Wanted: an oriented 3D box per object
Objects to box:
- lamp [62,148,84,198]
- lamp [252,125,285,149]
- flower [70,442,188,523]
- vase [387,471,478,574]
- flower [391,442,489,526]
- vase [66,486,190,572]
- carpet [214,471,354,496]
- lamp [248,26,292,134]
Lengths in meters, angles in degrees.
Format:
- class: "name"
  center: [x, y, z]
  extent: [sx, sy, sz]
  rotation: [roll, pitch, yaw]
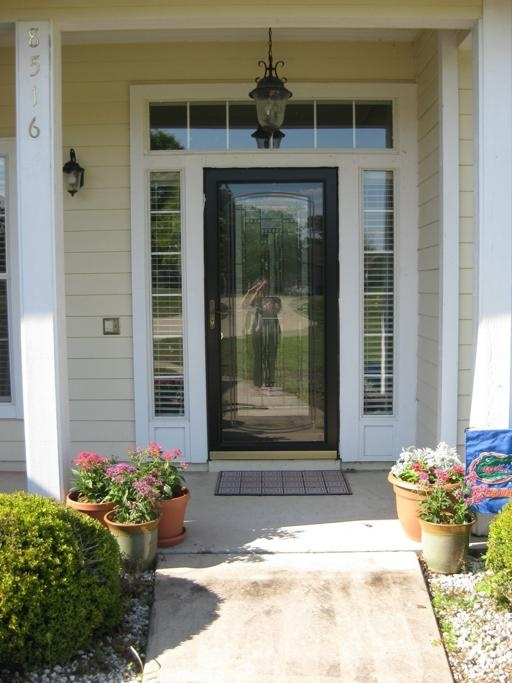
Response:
- class: "lamp"
  center: [-1.182, -1.088, 4.579]
  extent: [0.139, 0.302, 0.155]
  rotation: [-3, 8, -11]
- class: "lamp"
  center: [0.083, -1.301, 4.479]
  extent: [0.171, 0.159, 0.171]
  rotation: [0, -4, 0]
- class: "flower"
  center: [-0.595, 0.649, 3.274]
  extent: [0.374, 0.206, 0.378]
  rotation: [1, -3, 27]
- class: "vase"
  center: [0.809, 0.814, 3.234]
  extent: [0.405, 0.291, 0.349]
  rotation: [0, -5, 1]
- class: "flower"
  center: [0.872, 0.675, 3.452]
  extent: [0.391, 0.408, 0.395]
  rotation: [-1, 0, 11]
- class: "vase"
  center: [-0.528, 0.853, 3.284]
  extent: [0.425, 0.247, 0.431]
  rotation: [-2, -3, 35]
- class: "carpet"
  center: [0.170, 0.875, 4.404]
  extent: [0.823, 0.027, 0.526]
  rotation: [-1, 8, 1]
- class: "lamp"
  center: [0.086, -1.541, 4.204]
  extent: [0.271, 0.666, 0.759]
  rotation: [-1, 8, 2]
